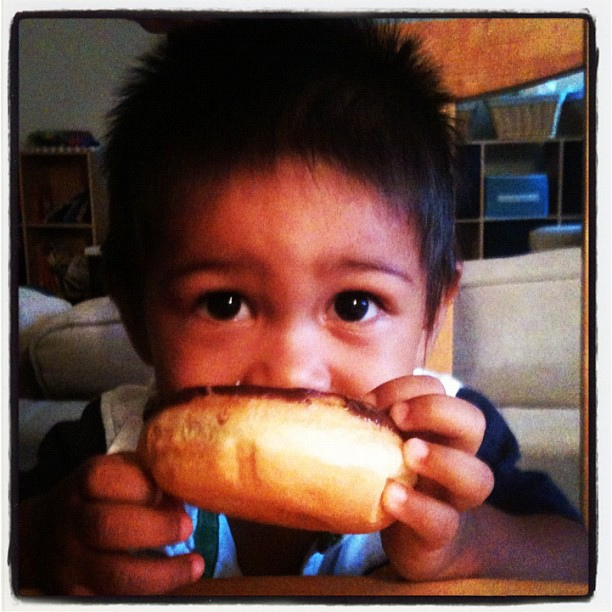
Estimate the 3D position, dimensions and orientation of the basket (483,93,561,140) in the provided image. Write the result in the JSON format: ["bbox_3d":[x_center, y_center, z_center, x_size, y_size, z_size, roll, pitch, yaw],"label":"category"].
[{"bbox_3d":[0.375,-0.327,1.211,0.101,0.064,0.085,-1,4,5],"label":"basket"}]

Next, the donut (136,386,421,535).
[{"bbox_3d":[-0.056,0.252,1.188,0.286,0.134,0.302,0,-9,25],"label":"donut"}]
